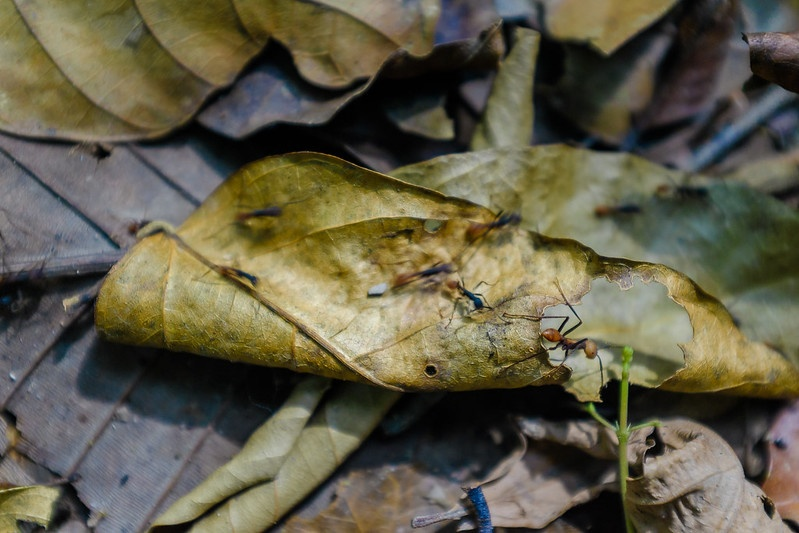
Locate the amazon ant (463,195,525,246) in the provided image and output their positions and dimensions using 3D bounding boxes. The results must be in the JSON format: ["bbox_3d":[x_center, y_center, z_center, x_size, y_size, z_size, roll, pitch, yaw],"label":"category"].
[{"bbox_3d":[0.309,-0.148,3.641,0.157,0.164,0.047,-33,85,-17],"label":"amazon ant"}]
